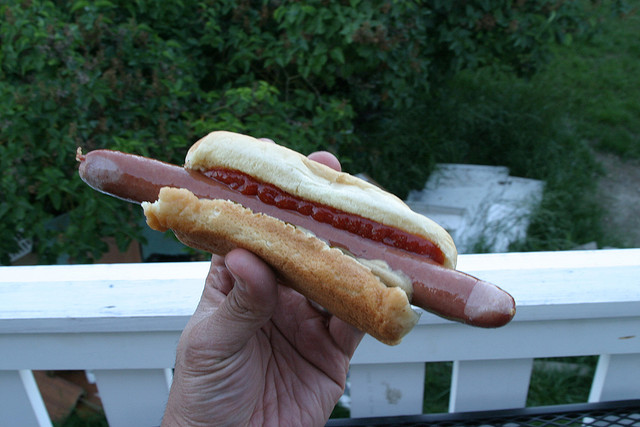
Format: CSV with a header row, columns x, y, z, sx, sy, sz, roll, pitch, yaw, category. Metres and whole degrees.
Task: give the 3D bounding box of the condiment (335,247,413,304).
x,y,z,sx,sy,sz,roll,pitch,yaw,category
0.324,0.333,3.235,0.535,0.154,0.123,33,80,18,condiment
